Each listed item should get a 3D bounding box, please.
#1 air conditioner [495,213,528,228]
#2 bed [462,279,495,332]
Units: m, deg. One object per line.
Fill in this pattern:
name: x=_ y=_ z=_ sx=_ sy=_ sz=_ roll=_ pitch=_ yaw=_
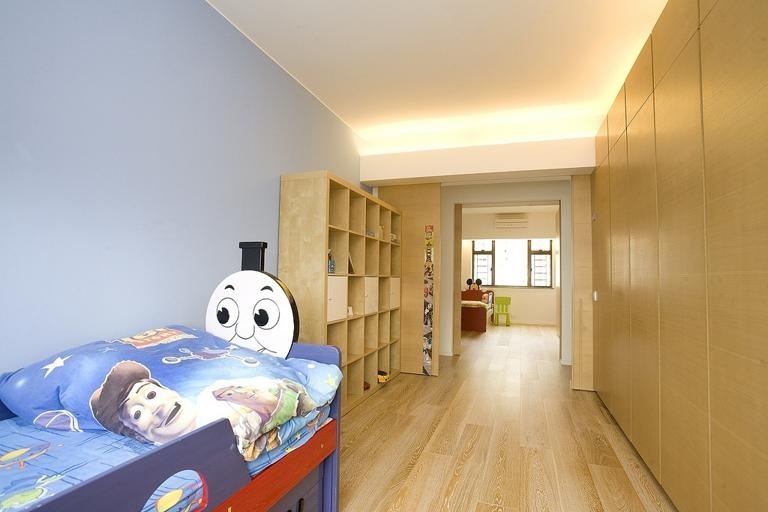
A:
air conditioner: x=2.843 y=-0.816 z=10.284 sx=0.485 sy=0.381 sz=0.242 roll=1 pitch=0 yaw=11
bed: x=1.869 y=1.113 z=10.043 sx=0.968 sy=0.857 sz=1.193 roll=-1 pitch=-2 yaw=19
